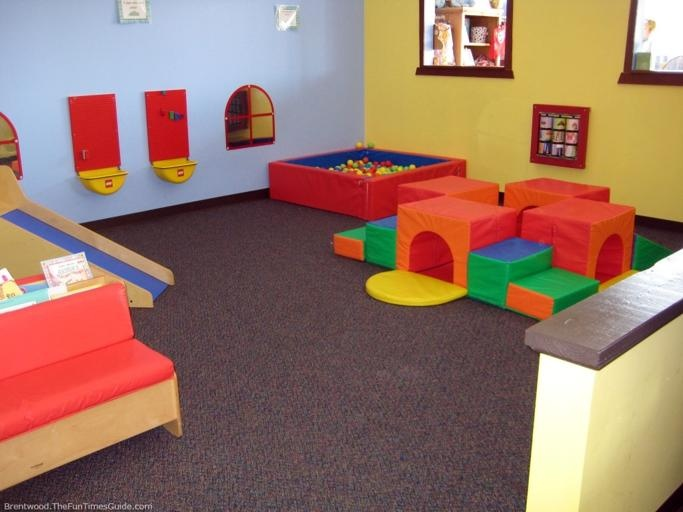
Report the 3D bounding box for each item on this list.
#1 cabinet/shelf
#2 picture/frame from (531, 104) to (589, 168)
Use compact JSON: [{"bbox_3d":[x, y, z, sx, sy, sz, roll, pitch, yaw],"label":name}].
[{"bbox_3d":[1.939,-3.424,7.716,0.919,1.193,0.472,-17,27,-36],"label":"cabinet/shelf"},{"bbox_3d":[2.815,-1.557,6.387,0.706,0.785,0.101,14,19,36],"label":"picture/frame"}]
